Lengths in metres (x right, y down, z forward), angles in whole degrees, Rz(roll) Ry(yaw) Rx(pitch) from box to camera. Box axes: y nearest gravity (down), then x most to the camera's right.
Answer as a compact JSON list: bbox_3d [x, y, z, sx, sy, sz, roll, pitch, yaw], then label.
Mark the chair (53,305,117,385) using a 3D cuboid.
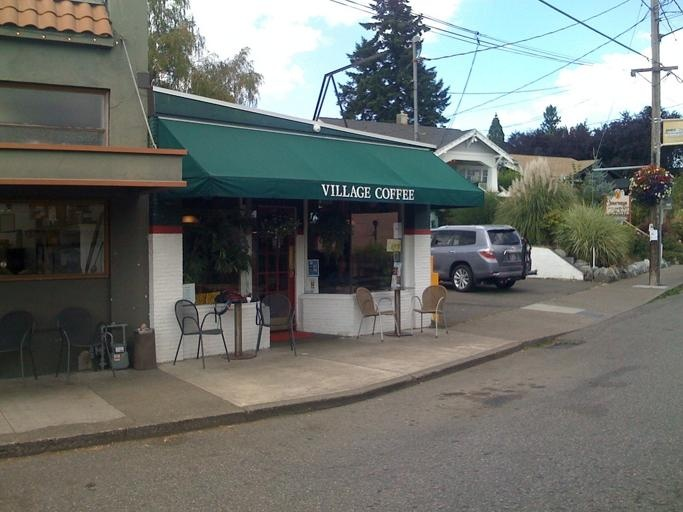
[{"bbox_3d":[-4.325,1.400,10.081,0.875,1.097,0.462,-3,6,-30],"label":"chair"}]
